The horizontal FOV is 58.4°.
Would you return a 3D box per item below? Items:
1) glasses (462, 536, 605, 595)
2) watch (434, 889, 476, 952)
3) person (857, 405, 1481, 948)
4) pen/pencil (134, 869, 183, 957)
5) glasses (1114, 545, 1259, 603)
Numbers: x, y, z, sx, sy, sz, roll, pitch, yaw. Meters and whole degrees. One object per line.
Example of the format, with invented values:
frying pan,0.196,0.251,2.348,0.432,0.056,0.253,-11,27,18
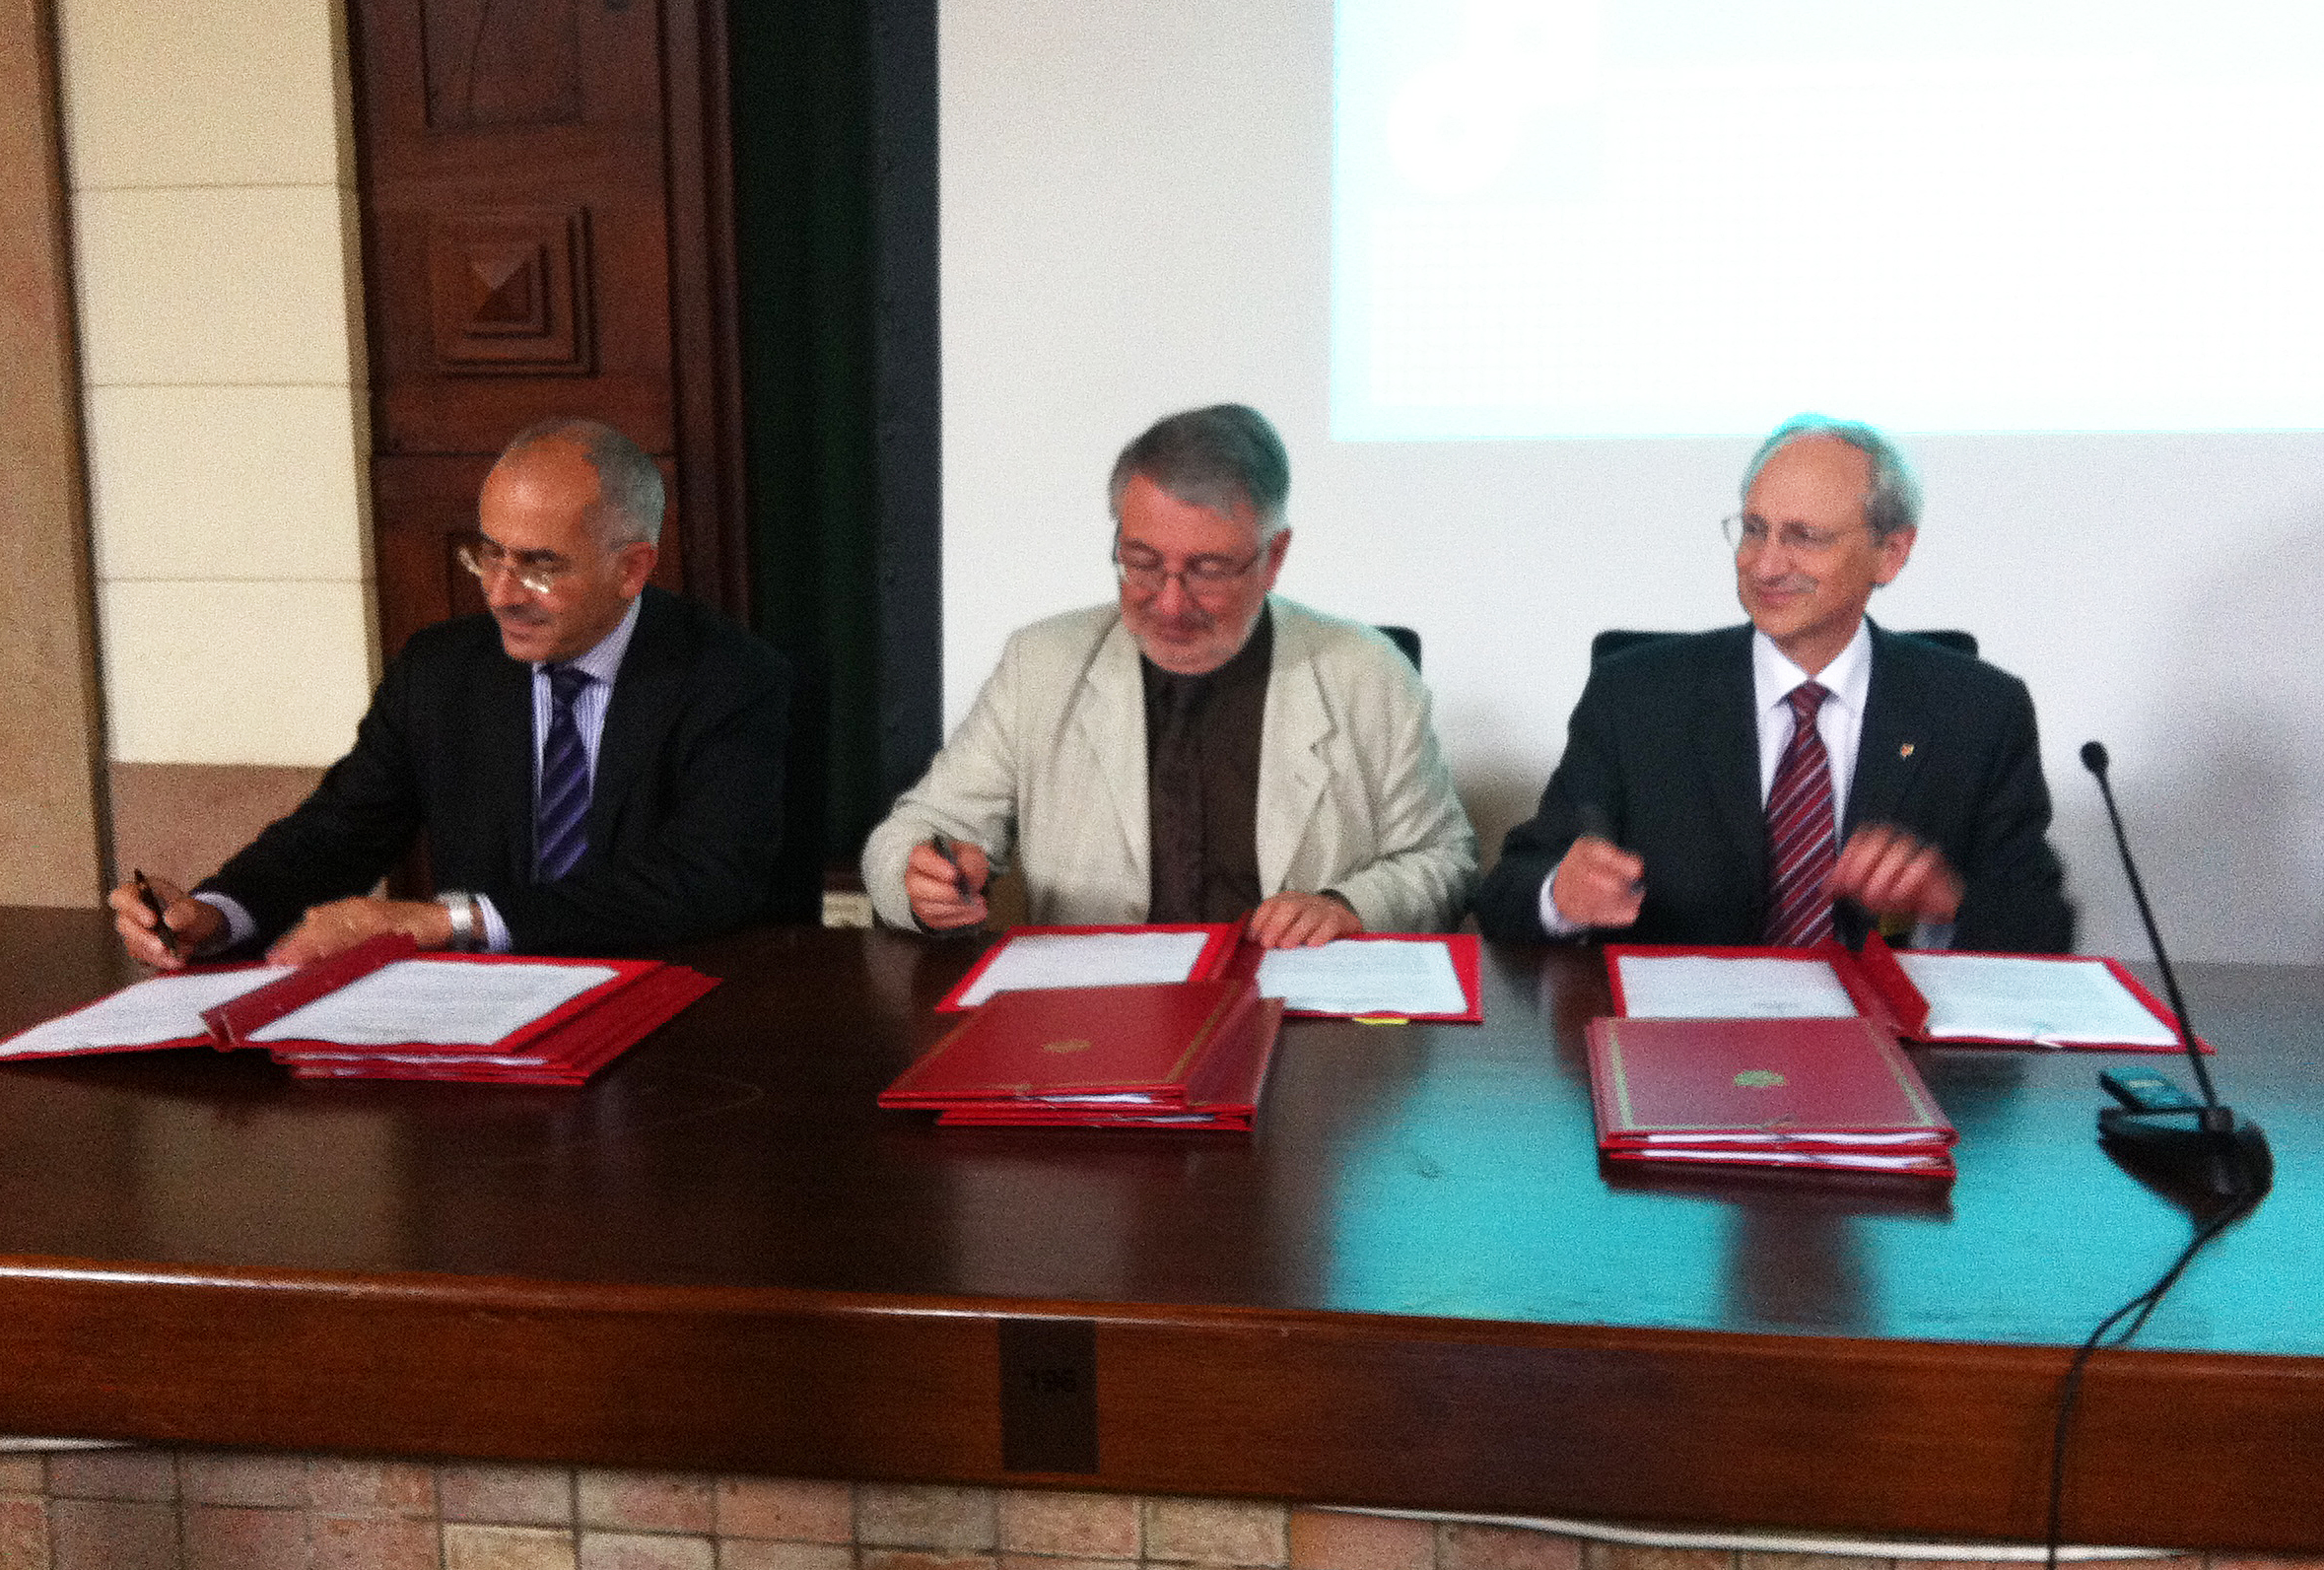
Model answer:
glasses,-0.996,-0.320,3.322,0.159,0.050,0.160,15,-6,13
watch,-1.005,0.195,2.955,0.052,0.071,0.071,0,26,-22
person,0.023,-0.173,3.241,0.965,0.813,0.514,-3,12,-16
pen/pencil,-1.431,0.190,2.943,0.147,0.022,0.022,48,17,18
glasses,0.036,-0.323,3.213,0.228,0.080,0.070,0,11,-1
